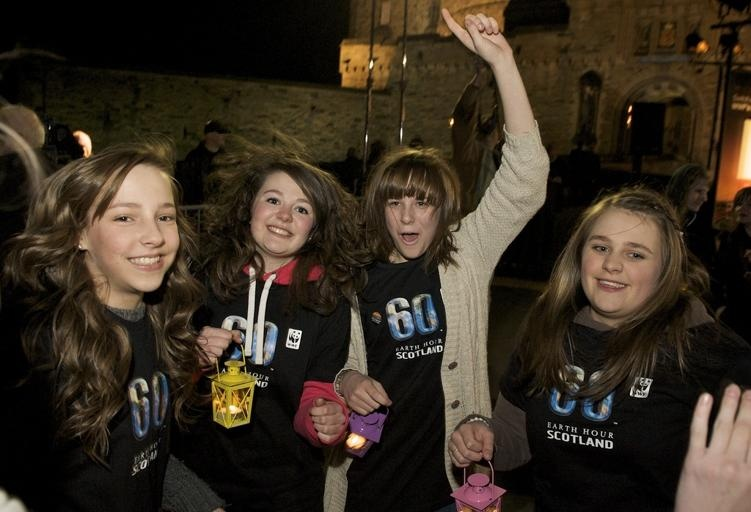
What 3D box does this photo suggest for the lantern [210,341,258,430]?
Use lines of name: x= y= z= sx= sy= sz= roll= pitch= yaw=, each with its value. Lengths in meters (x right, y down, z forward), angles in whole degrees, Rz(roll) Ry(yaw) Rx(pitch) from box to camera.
lantern: x=-0.769 y=0.741 z=3.473 sx=0.210 sy=0.302 sz=0.215 roll=5 pitch=4 yaw=34

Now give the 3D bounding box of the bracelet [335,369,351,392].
bracelet: x=-0.188 y=0.730 z=3.799 sx=0.086 sy=0.122 sz=0.044 roll=20 pitch=-5 yaw=-17

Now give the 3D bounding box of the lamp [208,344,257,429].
lamp: x=-0.779 y=0.743 z=3.491 sx=0.285 sy=0.331 sz=0.288 roll=3 pitch=-21 yaw=2

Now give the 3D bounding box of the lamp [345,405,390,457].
lamp: x=-0.045 y=1.007 z=3.797 sx=0.205 sy=0.295 sz=0.097 roll=28 pitch=20 yaw=6

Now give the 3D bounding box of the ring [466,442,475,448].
ring: x=0.521 y=1.026 z=3.492 sx=0.031 sy=0.033 sz=0.008 roll=37 pitch=-17 yaw=13
